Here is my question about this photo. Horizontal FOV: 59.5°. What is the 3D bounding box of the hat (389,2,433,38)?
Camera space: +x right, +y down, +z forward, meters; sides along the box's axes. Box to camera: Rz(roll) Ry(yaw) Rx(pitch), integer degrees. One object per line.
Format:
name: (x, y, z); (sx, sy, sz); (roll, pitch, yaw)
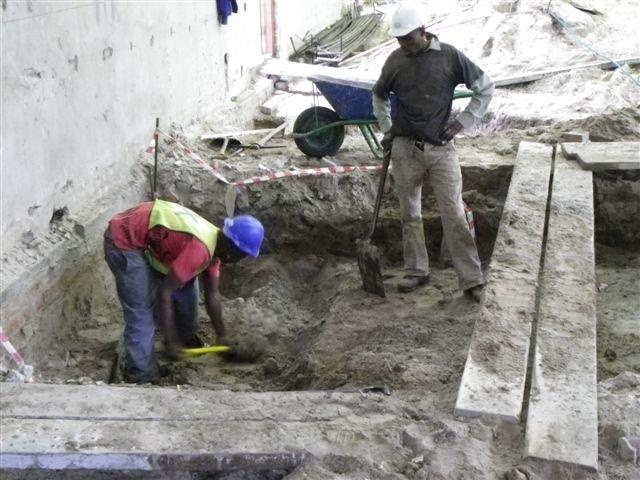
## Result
hat: (0.642, -1.622, 4.160); (0.242, 0.248, 0.393); (-2, 17, 8)

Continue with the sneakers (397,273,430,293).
sneakers: (0.779, 0.364, 4.776); (0.300, 0.134, 0.118); (-9, 15, -29)

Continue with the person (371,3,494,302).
person: (0.854, -0.642, 4.374); (0.930, 2.236, 0.609); (1, 18, 17)

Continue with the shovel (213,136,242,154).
shovel: (-1.186, -1.195, 7.112); (0.354, 0.173, 0.453); (-6, 17, -8)

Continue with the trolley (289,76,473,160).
trolley: (0.726, -1.373, 6.526); (2.045, 0.861, 0.740); (3, 18, 9)

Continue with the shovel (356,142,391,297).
shovel: (0.478, -0.129, 4.636); (0.107, 1.300, 0.269); (5, 6, -32)

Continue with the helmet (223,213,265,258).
helmet: (-0.524, -0.042, 3.976); (0.315, 0.175, 0.227); (43, 4, 12)

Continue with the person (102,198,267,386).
person: (-1.025, 0.368, 4.244); (1.141, 1.330, 0.811); (-2, 17, 5)
